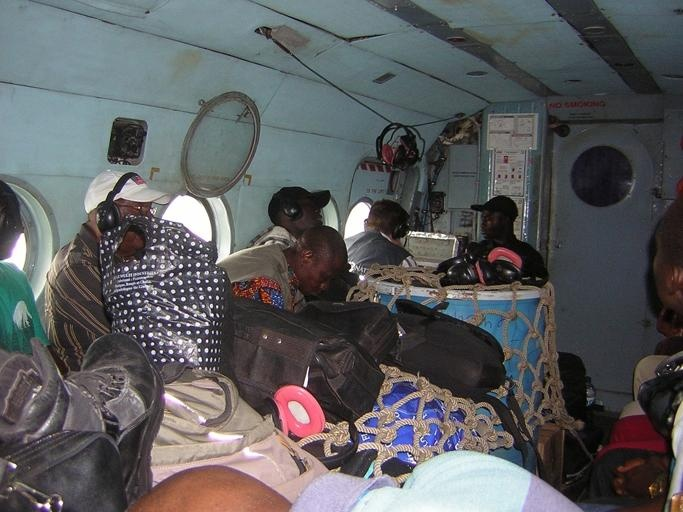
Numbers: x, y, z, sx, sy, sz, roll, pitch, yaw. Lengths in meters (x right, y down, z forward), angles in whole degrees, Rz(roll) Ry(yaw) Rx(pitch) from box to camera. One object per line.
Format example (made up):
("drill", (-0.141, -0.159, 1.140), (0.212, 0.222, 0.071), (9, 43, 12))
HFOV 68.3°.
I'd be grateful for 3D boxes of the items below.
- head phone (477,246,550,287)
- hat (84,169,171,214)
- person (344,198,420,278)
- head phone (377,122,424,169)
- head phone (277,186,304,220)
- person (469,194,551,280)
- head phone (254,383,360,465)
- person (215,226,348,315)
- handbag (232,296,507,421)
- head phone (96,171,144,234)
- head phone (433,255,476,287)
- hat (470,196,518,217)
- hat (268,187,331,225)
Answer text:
("head phone", (1.241, 0.078, 3.694), (0.350, 0.143, 0.273), (22, 3, 33))
("hat", (-1.273, -0.367, 2.856), (0.434, 0.193, 0.273), (1, 9, 5))
("person", (0.341, -0.173, 4.796), (0.780, 0.724, 0.474), (16, 14, 41))
("head phone", (0.588, -1.249, 5.647), (0.294, 0.506, 0.457), (-9, 10, -36))
("head phone", (-0.438, -0.458, 4.364), (0.282, 0.105, 0.207), (45, -3, -2))
("person", (1.666, -0.222, 5.265), (0.654, 0.754, 1.095), (-10, 12, -11))
("head phone", (-0.116, 0.561, 1.714), (0.315, 0.145, 0.245), (36, -27, 15))
("person", (-0.407, 0.099, 3.396), (0.855, 0.431, 1.290), (-7, 6, 0))
("handbag", (0.098, 0.395, 2.156), (0.728, 0.260, 0.699), (0, 9, -44))
("head phone", (-1.185, -0.314, 2.639), (0.111, 0.267, 0.286), (30, 4, -18))
("head phone", (0.723, 0.091, 3.160), (0.232, 0.189, 0.169), (-18, 9, -34))
("hat", (1.580, -0.503, 5.204), (0.392, 0.185, 0.243), (6, 3, 11))
("hat", (-0.378, -0.478, 4.471), (0.496, 0.250, 0.310), (-27, -7, -18))
